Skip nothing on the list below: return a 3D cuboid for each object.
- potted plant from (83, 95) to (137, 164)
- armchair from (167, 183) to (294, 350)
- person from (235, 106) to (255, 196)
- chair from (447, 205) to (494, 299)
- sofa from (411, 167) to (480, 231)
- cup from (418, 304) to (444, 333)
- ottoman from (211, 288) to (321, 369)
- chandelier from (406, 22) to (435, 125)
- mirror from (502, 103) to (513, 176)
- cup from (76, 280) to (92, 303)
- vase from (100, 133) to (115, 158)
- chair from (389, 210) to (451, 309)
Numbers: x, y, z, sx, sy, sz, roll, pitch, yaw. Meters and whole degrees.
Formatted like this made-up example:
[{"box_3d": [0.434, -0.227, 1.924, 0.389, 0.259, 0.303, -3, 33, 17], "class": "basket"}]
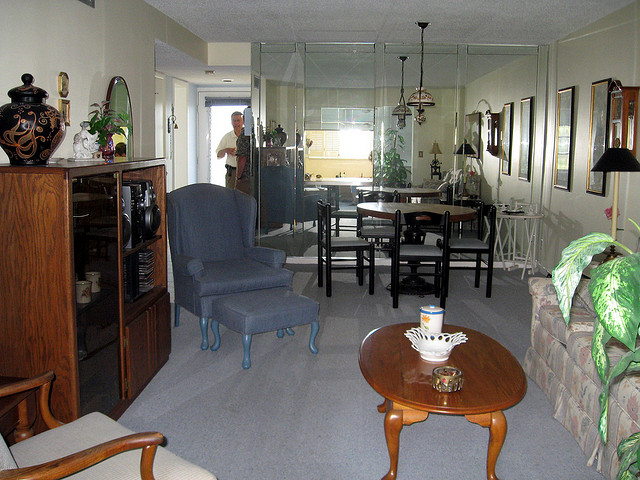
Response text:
[{"box_3d": [-1.430, -0.724, 3.025, 0.351, 0.390, 0.399, -1, 4, 3], "class": "potted plant"}, {"box_3d": [-0.966, 0.170, 4.328, 1.268, 1.700, 1.350, -4, 8, -38], "class": "armchair"}, {"box_3d": [-1.179, -1.333, 7.098, 0.274, 1.209, 1.418, -3, 12, -11], "class": "person"}, {"box_3d": [1.684, 0.116, 5.269, 0.560, 1.007, 0.556, 1, 10, 7], "class": "chair"}, {"box_3d": [1.800, -0.543, 6.613, 0.844, 1.198, 0.875, 2, 6, 6], "class": "sofa"}, {"box_3d": [0.642, 0.437, 2.614, 0.135, 0.149, 0.135, 2, 2, 0], "class": "cup"}, {"box_3d": [-0.468, 0.554, 3.677, 0.664, 0.597, 0.677, -2, 11, -36], "class": "ottoman"}, {"box_3d": [1.273, -2.084, 5.682, 0.337, 1.217, 0.347, 1, 3, -3], "class": "chandelier"}, {"box_3d": [2.613, -1.374, 6.367, 0.038, 0.965, 0.190, -8, 14, -14], "class": "mirror"}, {"box_3d": [-1.218, 0.270, 2.346, 0.083, 0.094, 0.082, 2, 3, 0], "class": "cup"}, {"box_3d": [-1.371, -0.602, 2.921, 0.080, 0.152, 0.203, -6, 13, -25], "class": "vase"}, {"box_3d": [1.097, 0.157, 5.049, 0.587, 1.110, 0.713, 2, 15, 7], "class": "chair"}]
